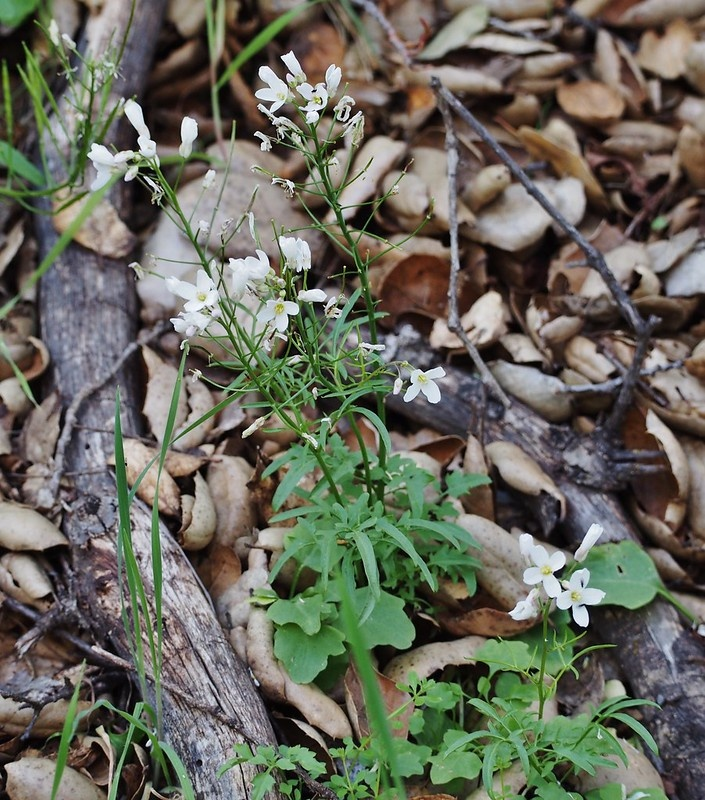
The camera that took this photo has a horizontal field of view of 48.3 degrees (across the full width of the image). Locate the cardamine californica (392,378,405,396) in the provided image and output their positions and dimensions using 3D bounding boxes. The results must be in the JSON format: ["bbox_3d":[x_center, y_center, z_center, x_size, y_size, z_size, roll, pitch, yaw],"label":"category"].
[{"bbox_3d":[0.117,-0.031,1.985,0.013,0.050,0.033,7,27,-35],"label":"cardamine californica"}]
